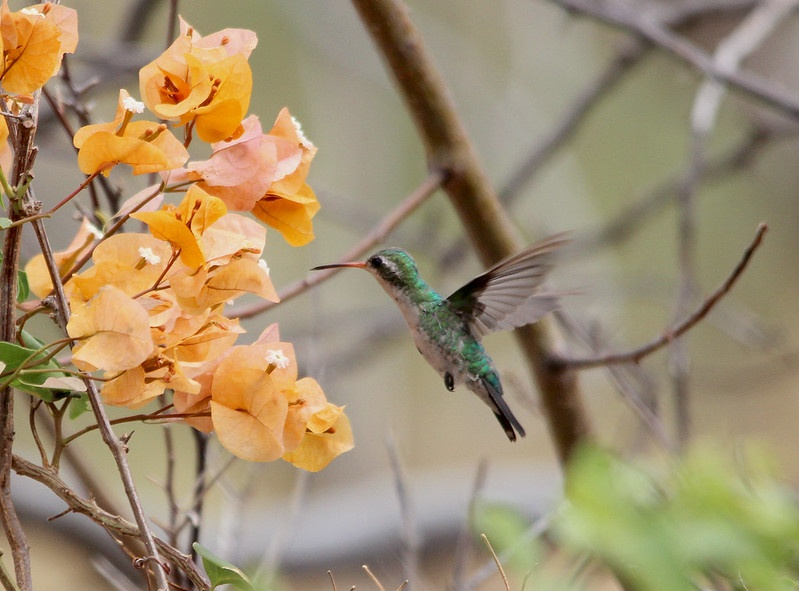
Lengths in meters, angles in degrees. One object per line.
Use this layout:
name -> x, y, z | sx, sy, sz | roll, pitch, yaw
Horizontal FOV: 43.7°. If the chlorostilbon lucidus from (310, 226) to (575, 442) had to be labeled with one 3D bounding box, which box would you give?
chlorostilbon lucidus -> 0.055, 0.042, 1.278 | 0.318, 0.330, 0.228 | 8, -96, 7
